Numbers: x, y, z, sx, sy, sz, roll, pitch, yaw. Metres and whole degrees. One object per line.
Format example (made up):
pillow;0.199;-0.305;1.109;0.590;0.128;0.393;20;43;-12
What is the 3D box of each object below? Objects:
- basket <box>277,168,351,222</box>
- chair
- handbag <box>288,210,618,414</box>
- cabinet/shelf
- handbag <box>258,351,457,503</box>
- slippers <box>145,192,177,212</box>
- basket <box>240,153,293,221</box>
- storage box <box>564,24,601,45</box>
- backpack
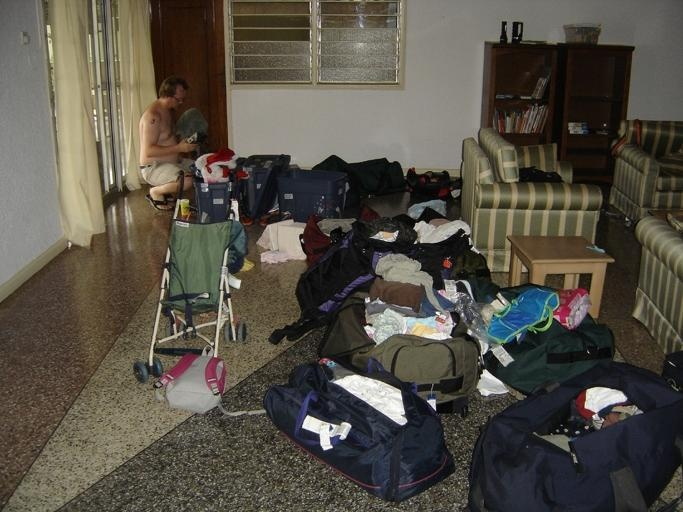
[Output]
basket;-0.266;-0.651;5.418;0.677;0.460;0.453;4;25;6
chair;1.775;-0.134;4.147;1.399;1.123;1.984;-2;27;-5
handbag;0.411;0.317;3.791;1.399;0.496;1.096;-1;27;0
cabinet/shelf;2.617;-1.806;6.596;2.090;2.139;0.711;-1;14;-1
handbag;0.072;0.816;2.733;0.950;0.356;0.752;19;23;39
slippers;-2.098;-0.577;6.194;0.309;0.066;0.194;28;40;23
basket;-0.923;-0.664;5.627;0.436;0.522;0.491;2;0;-38
storage box;3.071;-2.823;6.943;0.350;0.165;0.347;-16;24;-35
backpack;-0.798;0.680;2.914;0.351;0.150;0.416;-2;26;-1
